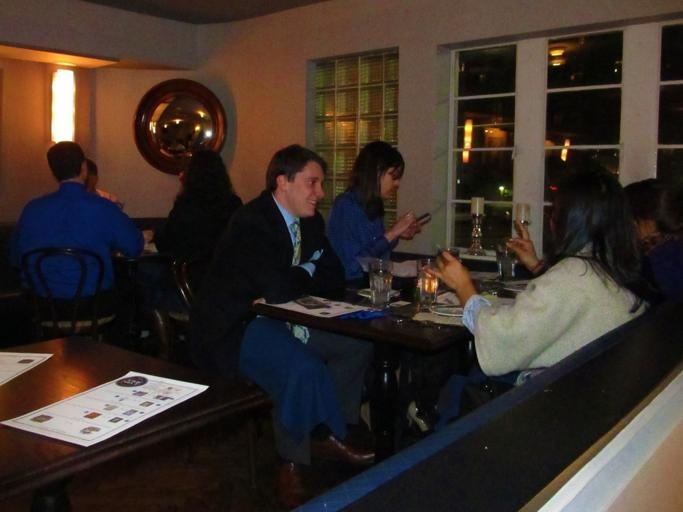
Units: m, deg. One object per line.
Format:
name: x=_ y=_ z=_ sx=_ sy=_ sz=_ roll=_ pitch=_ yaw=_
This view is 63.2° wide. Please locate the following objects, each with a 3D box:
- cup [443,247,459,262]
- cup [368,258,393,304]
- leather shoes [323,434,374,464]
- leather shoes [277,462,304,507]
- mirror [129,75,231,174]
cup: x=0.431 y=-0.011 z=2.177 sx=0.057 sy=0.058 sz=0.059 roll=0 pitch=9 yaw=0
cup: x=0.143 y=0.097 z=2.117 sx=0.132 sy=0.194 sz=0.122 roll=-1 pitch=1 yaw=0
leather shoes: x=0.025 y=0.754 z=2.134 sx=0.169 sy=0.047 sz=0.103 roll=27 pitch=61 yaw=24
leather shoes: x=-0.188 y=0.831 z=2.053 sx=0.079 sy=0.168 sz=0.054 roll=-16 pitch=-29 yaw=-10
mirror: x=-1.379 y=-1.185 z=4.884 sx=1.122 sy=1.192 sz=0.101 roll=1 pitch=4 yaw=11
